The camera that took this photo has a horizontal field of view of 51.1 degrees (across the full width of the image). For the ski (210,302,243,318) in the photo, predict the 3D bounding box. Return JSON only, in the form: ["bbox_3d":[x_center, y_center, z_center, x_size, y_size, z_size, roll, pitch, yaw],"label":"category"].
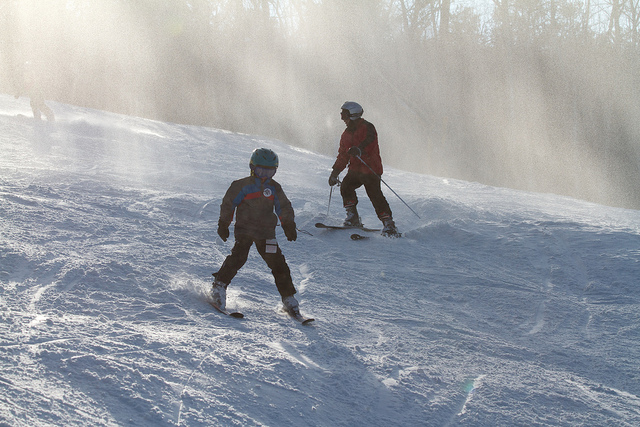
[{"bbox_3d":[-1.284,1.321,9.106,0.627,0.064,0.071,15,15,39],"label":"ski"}]

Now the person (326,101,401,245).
[{"bbox_3d":[0.827,-0.782,11.995,1.181,2.301,0.614,8,13,5],"label":"person"}]

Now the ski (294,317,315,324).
[{"bbox_3d":[-0.208,1.465,9.202,0.237,0.103,0.083,-6,4,14],"label":"ski"}]

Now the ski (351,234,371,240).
[{"bbox_3d":[0.724,0.428,11.939,0.316,0.080,0.076,6,13,2],"label":"ski"}]

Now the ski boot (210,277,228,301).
[{"bbox_3d":[-1.387,1.048,9.211,0.243,0.342,0.263,-20,-27,37],"label":"ski boot"}]

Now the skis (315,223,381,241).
[{"bbox_3d":[0.479,0.336,12.165,1.472,0.193,0.109,7,8,9],"label":"skis"}]

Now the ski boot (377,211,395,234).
[{"bbox_3d":[1.210,0.150,12.071,0.332,0.387,0.199,7,13,5],"label":"ski boot"}]

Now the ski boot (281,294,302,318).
[{"bbox_3d":[-0.380,1.282,9.352,0.376,0.283,0.154,17,17,40],"label":"ski boot"}]

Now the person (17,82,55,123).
[{"bbox_3d":[-6.642,-2.605,15.710,0.633,0.930,0.820,6,13,0],"label":"person"}]
